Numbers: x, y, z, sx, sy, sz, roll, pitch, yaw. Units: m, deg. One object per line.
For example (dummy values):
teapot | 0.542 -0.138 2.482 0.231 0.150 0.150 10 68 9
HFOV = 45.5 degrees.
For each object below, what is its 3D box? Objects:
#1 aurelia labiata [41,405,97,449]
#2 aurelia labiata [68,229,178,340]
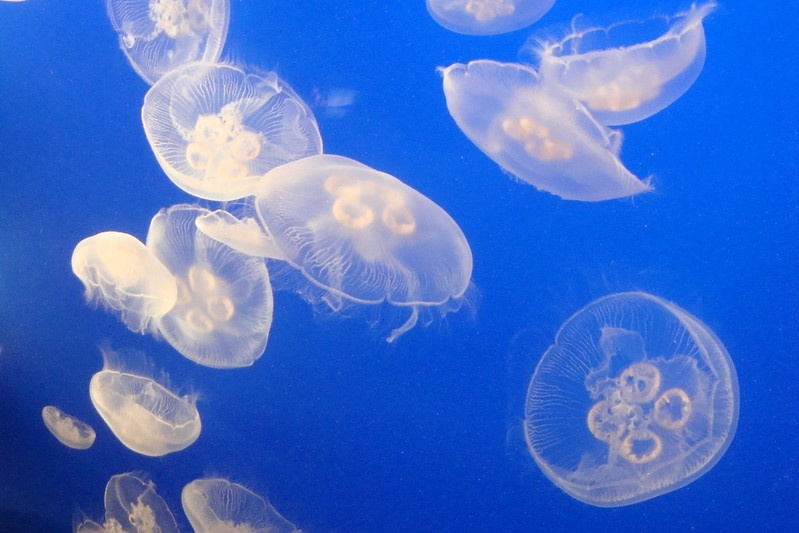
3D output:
aurelia labiata | -3.510 1.711 10.116 0.366 0.084 0.630 -22 27 -19
aurelia labiata | -2.792 0.145 9.725 1.107 0.830 0.421 48 4 -12
